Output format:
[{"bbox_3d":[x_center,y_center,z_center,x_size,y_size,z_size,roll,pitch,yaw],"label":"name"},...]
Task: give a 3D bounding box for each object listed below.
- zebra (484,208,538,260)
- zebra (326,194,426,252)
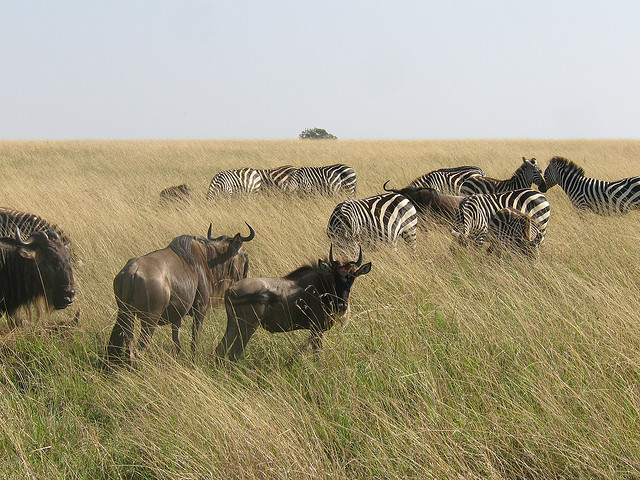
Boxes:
[{"bbox_3d":[2.367,-0.088,9.496,0.438,0.536,1.072,0,10,-20],"label":"zebra"},{"bbox_3d":[0.845,-0.263,10.152,1.456,0.669,0.815,1,9,-19],"label":"zebra"}]
